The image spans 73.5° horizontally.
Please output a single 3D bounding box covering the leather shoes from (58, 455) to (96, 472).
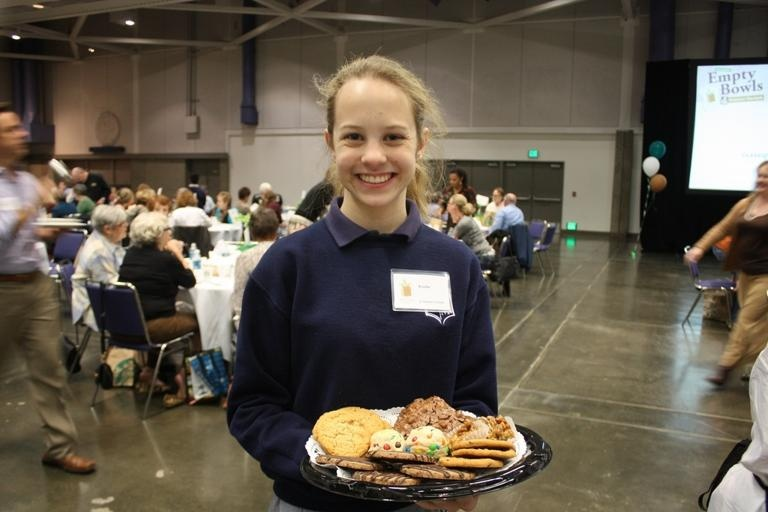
[{"bbox_3d":[-2.293,1.546,3.861,0.304,0.133,0.112,1,10,2],"label":"leather shoes"}]

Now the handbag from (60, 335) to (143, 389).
[{"bbox_3d":[-2.823,1.080,5.186,0.600,0.245,0.502,3,18,-11],"label":"handbag"}]

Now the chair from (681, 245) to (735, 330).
[{"bbox_3d":[4.414,0.449,7.029,0.633,0.940,0.523,6,11,31],"label":"chair"}]

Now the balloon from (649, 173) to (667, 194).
[{"bbox_3d":[7.286,-1.952,13.742,0.381,0.415,0.511,2,6,4],"label":"balloon"}]

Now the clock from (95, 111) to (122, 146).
[{"bbox_3d":[-11.368,-5.314,21.410,1.328,1.380,0.393,7,15,29],"label":"clock"}]

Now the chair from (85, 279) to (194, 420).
[{"bbox_3d":[-2.363,0.815,5.111,0.738,1.262,0.893,6,10,19],"label":"chair"}]

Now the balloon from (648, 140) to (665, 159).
[{"bbox_3d":[7.372,-2.851,14.074,0.451,0.565,0.466,6,-8,32],"label":"balloon"}]
